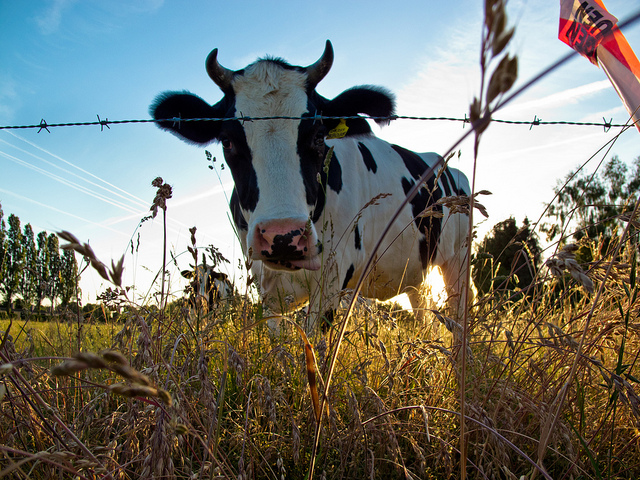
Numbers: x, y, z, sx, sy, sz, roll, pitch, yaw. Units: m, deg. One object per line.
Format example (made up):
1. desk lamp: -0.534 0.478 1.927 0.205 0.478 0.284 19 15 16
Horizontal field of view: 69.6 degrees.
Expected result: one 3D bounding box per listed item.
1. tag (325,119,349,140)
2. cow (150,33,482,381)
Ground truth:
1. tag: 0.174 -1.075 4.500 0.209 0.152 0.140 7 14 40
2. cow: 0.139 -0.271 5.959 1.409 3.388 4.691 -6 11 14
